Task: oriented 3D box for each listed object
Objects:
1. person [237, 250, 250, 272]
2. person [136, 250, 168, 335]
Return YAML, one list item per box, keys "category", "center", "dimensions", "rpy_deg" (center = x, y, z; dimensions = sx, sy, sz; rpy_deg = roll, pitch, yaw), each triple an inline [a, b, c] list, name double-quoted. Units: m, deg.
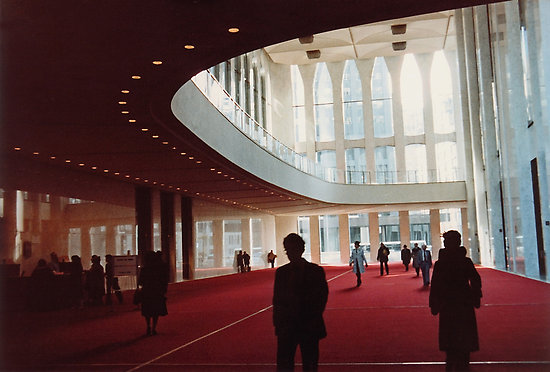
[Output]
- category: "person"
  center: [-2.249, 5.380, 33.873]
  dimensions: [0.482, 1.527, 1.976]
  rpy_deg: [-4, -11, 10]
- category: "person"
  center: [-2.971, 2.589, 11.534]
  dimensions: [0.656, 1.991, 0.338]
  rpy_deg: [2, -11, -20]
